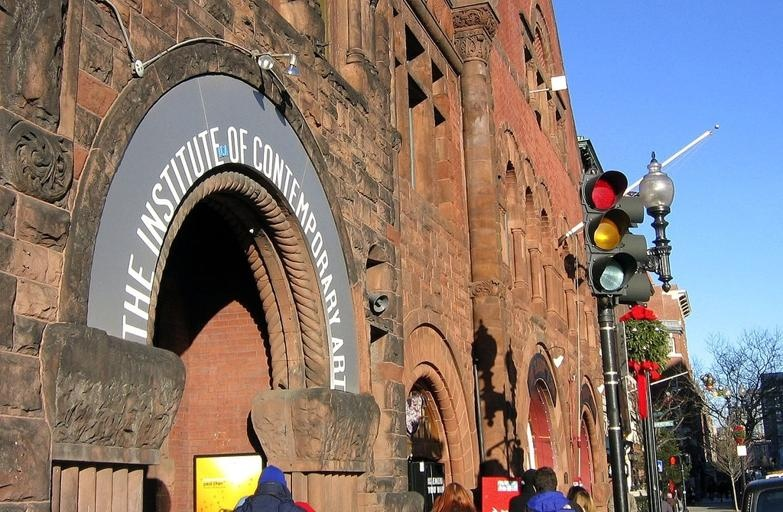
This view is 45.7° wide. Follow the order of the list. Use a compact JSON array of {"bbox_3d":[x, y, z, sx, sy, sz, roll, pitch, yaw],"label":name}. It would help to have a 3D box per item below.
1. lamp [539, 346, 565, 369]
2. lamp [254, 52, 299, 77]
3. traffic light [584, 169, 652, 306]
[{"bbox_3d":[4.136,2.615,23.778,0.139,0.654,0.620,-26,-40,32],"label":"lamp"},{"bbox_3d":[-1.400,-2.297,10.984,0.570,0.315,0.231,-1,0,25],"label":"lamp"},{"bbox_3d":[2.631,-0.204,10.832,0.711,1.461,0.941,-13,-25,23],"label":"traffic light"}]
